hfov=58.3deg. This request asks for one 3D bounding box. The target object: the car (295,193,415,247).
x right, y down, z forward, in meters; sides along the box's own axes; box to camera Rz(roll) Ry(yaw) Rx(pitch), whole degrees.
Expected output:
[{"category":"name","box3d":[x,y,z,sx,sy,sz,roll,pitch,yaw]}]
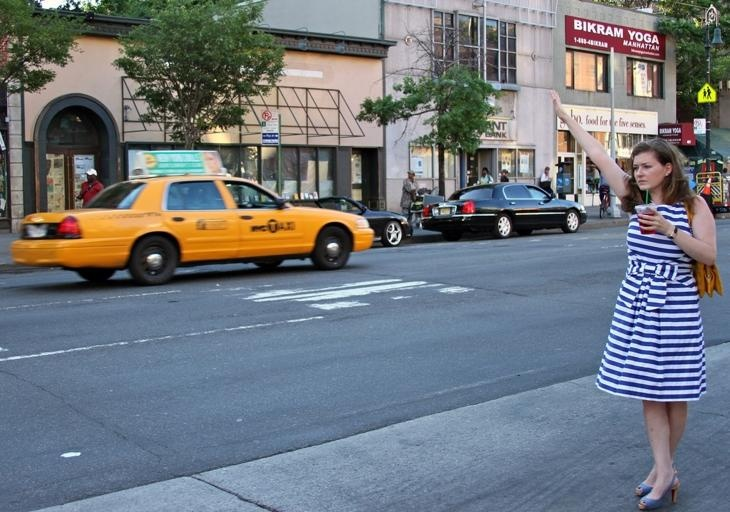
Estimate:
[{"category":"car","box3d":[-0.213,-1.040,19.375,3.501,1.099,1.428,-2,6,-21]}]

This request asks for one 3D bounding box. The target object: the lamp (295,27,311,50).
[{"category":"lamp","box3d":[-2.809,-9.550,28.972,1.036,0.880,0.397,-7,9,-43]}]

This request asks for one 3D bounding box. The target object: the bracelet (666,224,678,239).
[{"category":"bracelet","box3d":[1.775,-0.140,3.806,0.093,0.083,0.041,-5,8,-35]}]

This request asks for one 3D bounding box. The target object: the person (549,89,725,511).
[{"category":"person","box3d":[1.770,0.360,4.133,0.619,2.177,0.734,-3,7,-20]}]

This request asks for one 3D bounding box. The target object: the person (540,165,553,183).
[{"category":"person","box3d":[10.041,-4.596,36.687,0.447,0.568,1.309,7,-6,16]}]

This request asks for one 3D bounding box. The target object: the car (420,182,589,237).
[{"category":"car","box3d":[4.812,-1.640,22.913,5.071,1.301,2.220,-6,6,-35]}]

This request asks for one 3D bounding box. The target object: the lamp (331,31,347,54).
[{"category":"lamp","box3d":[-1.234,-9.716,30.064,0.950,0.758,0.476,-2,7,-15]}]
